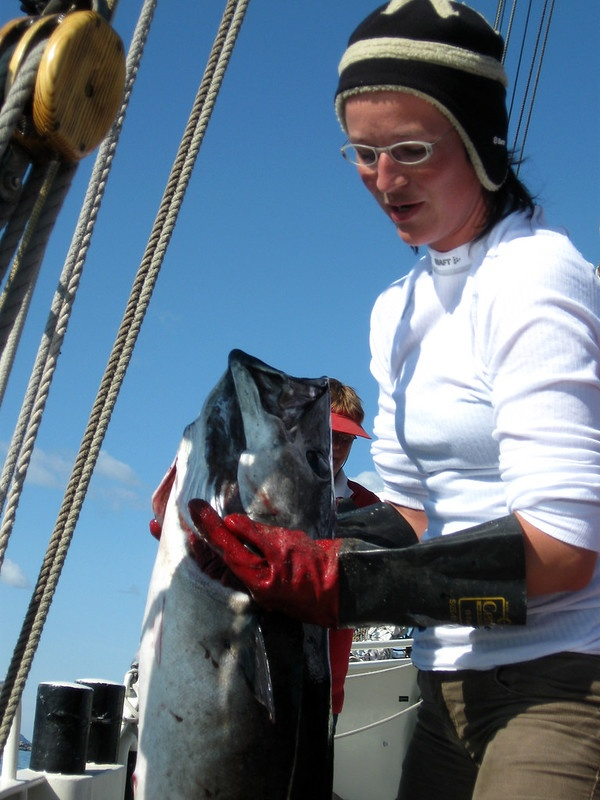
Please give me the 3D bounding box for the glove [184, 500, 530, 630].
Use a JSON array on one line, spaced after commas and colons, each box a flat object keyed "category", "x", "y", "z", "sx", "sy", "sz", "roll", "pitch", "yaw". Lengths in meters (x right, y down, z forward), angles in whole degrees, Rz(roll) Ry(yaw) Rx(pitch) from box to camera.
[{"category": "glove", "x": 0.125, "y": 0.310, "z": 1.242, "sx": 0.432, "sy": 0.150, "sz": 0.254, "roll": 7, "pitch": -24, "yaw": -7}]
